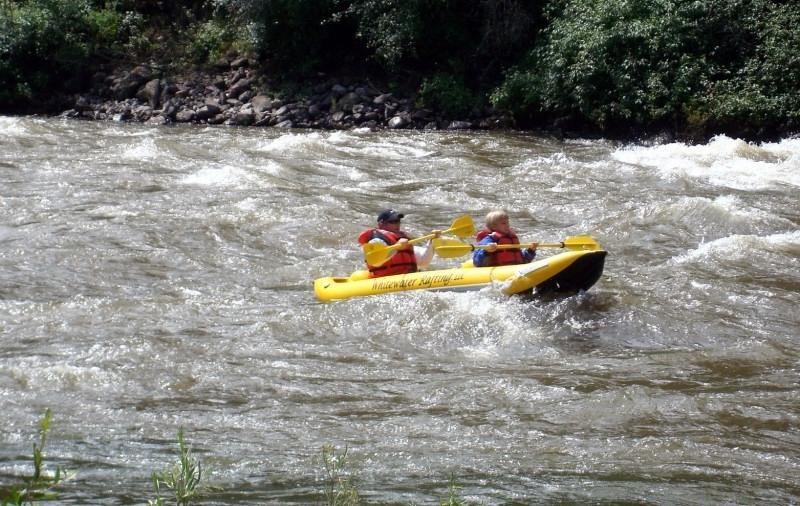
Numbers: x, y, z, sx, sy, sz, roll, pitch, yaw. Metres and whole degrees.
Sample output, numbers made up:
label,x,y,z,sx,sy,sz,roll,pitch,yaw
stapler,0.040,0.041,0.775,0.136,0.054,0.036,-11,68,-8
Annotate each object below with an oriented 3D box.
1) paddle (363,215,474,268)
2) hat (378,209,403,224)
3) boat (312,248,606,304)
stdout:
label,x,y,z,sx,sy,sz,roll,pitch,yaw
paddle,0.421,-0.250,25.646,2.759,0.463,0.086,-17,26,-35
hat,-0.142,-0.716,25.726,0.492,0.153,0.275,-8,-4,20
boat,0.629,0.496,25.229,6.311,0.680,1.542,-5,-6,13
